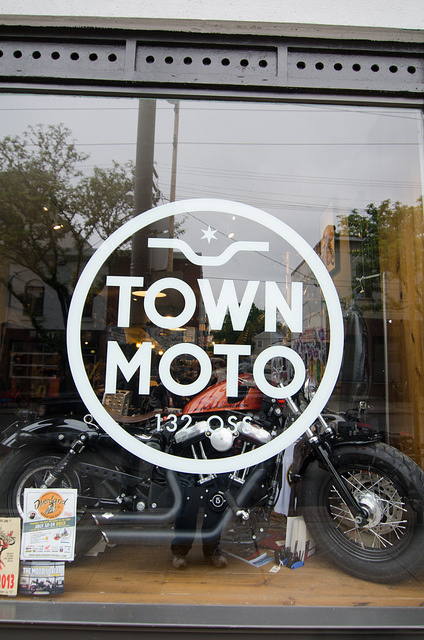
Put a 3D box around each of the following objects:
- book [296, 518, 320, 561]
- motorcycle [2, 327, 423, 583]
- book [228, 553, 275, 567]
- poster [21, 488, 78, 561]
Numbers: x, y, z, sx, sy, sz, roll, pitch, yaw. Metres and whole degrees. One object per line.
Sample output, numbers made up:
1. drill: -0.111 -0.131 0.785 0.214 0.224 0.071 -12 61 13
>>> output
1. book: 0.431 0.988 2.162 0.047 0.127 0.136 -23 -22 21
2. motorcycle: 0.029 0.574 2.614 1.943 1.097 0.909 0 -3 3
3. book: 0.180 1.047 2.114 0.198 0.028 0.052 1 0 -6
4. poster: -0.670 0.841 1.970 0.282 0.377 0.016 0 -16 -6
